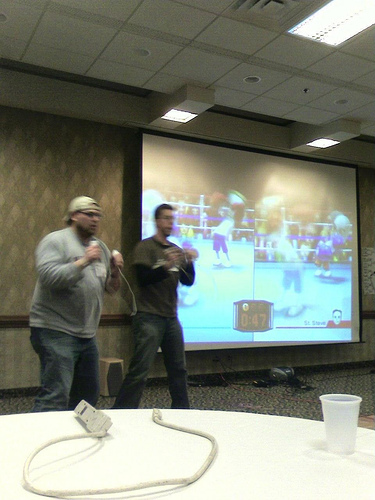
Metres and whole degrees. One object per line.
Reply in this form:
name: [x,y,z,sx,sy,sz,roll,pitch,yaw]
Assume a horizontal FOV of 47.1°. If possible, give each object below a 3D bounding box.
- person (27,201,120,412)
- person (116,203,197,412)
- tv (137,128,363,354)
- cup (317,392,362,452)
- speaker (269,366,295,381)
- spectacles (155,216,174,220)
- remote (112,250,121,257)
person: [-0.528,0.253,2.213,0.508,1.081,0.499,5,-13,-37]
person: [-0.217,0.370,2.966,0.555,1.392,0.332,-2,-10,-1]
tv: [0.752,-0.128,5.412,3.515,2.476,0.047,2,-7,-29]
cup: [0.305,0.352,0.872,0.096,0.102,0.097,0,-13,0]
speaker: [1.179,1.509,5.358,0.217,0.147,0.179,-1,-7,-30]
spectacles: [-0.158,-0.226,3.017,0.120,0.028,0.062,-1,-9,-11]
remote: [-0.433,0.018,2.597,0.032,0.040,0.040,-3,15,12]
